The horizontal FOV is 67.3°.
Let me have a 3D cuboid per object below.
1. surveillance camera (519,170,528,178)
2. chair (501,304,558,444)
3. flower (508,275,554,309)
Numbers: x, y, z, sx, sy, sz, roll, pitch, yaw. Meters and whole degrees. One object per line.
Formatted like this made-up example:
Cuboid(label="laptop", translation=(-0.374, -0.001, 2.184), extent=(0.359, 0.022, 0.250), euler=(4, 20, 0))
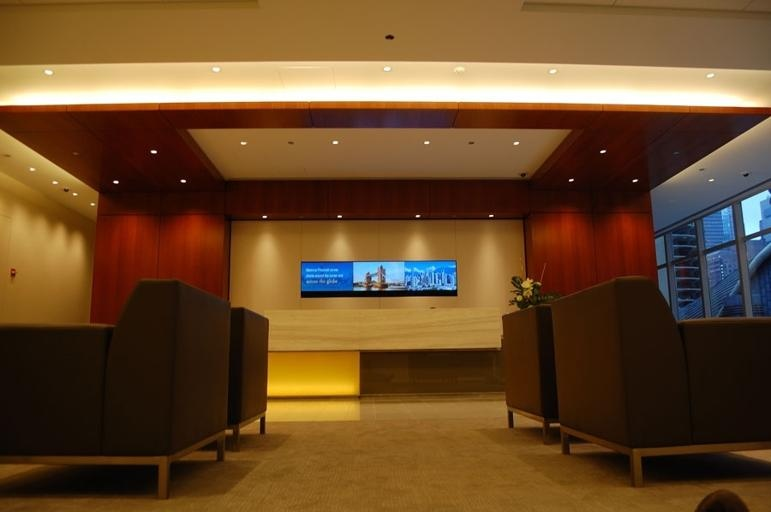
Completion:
Cuboid(label="surveillance camera", translation=(2.368, -1.414, 9.977), extent=(0.084, 0.057, 0.092), euler=(2, -6, -20))
Cuboid(label="chair", translation=(1.300, 1.060, 5.181), extent=(0.545, 1.083, 1.075), euler=(2, -12, -8))
Cuboid(label="flower", translation=(1.438, 0.365, 5.642), extent=(0.524, 0.299, 0.608), euler=(-2, 5, 15))
